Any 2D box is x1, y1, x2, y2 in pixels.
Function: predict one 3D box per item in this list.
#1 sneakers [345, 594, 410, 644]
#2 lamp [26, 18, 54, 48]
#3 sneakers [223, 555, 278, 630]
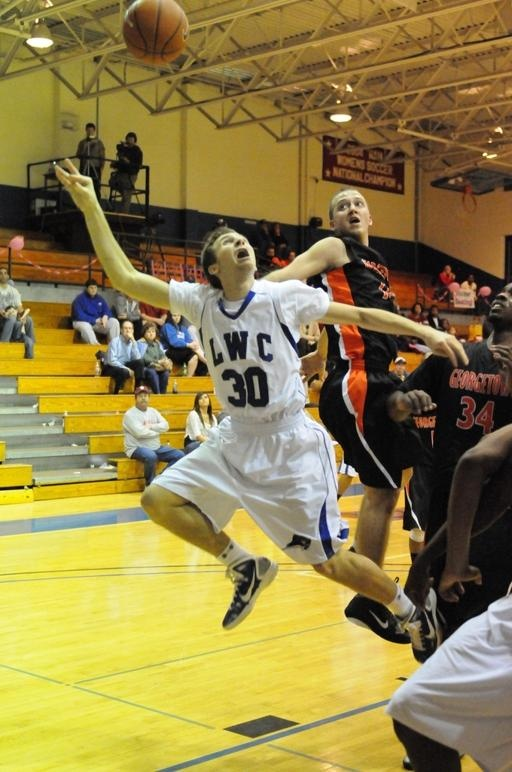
[{"bbox_3d":[0.427,0.843,2.262,0.314,0.127,0.109,28,-36,-21],"label":"sneakers"},{"bbox_3d":[-3.597,-5.907,10.376,0.327,0.539,0.398,5,-8,-28],"label":"lamp"},{"bbox_3d":[-0.027,0.764,2.332,0.204,0.257,0.133,3,-7,-17],"label":"sneakers"}]
